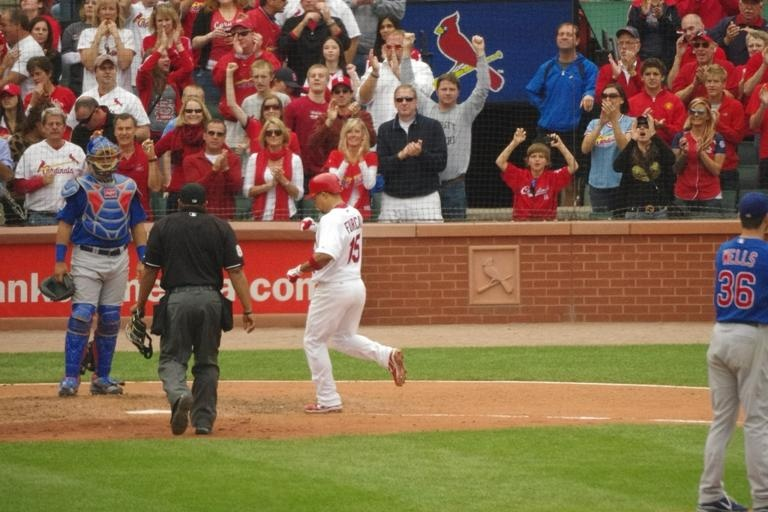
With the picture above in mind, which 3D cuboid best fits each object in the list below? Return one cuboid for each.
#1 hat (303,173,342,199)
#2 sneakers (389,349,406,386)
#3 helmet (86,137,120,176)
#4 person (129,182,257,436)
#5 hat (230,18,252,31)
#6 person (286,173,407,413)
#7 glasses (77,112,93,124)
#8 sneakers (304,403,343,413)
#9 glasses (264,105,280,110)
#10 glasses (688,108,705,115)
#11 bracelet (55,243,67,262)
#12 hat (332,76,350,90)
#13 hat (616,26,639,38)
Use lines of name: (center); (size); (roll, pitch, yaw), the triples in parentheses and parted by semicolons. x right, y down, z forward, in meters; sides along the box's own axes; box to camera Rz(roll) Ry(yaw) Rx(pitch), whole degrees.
hat: (-0.911, -0.987, 25.388); (0.473, 0.226, 0.321); (7, 27, 11)
sneakers: (0.226, 1.635, 25.863); (0.278, 0.562, 0.216); (-7, 15, 20)
helmet: (-4.272, -1.482, 26.129); (0.531, 0.474, 0.561); (-3, 15, -22)
person: (-2.646, 0.739, 24.450); (1.603, 3.458, 0.913); (-1, 2, -7)
hat: (-2.486, -4.002, 30.558); (0.380, 0.293, 0.518); (-1, 1, -5)
person: (-0.677, 0.549, 25.458); (1.480, 3.440, 0.670); (-1, 2, -14)
glasses: (-5.112, -2.318, 29.791); (0.178, 0.170, 0.054); (-3, -28, 8)
sneakers: (-0.907, 2.228, 25.581); (0.492, 0.133, 0.182); (2, -3, -2)
glasses: (-1.891, -2.483, 29.654); (0.276, 0.074, 0.104); (-1, 1, -14)
glasses: (5.378, -2.449, 30.097); (0.279, 0.112, 0.097); (0, 2, 28)
bracelet: (-4.820, -0.038, 26.078); (0.151, 0.245, 0.299); (-1, 1, -12)
hat: (-0.733, -2.933, 29.881); (0.323, 0.220, 0.499); (0, -4, 2)
hat: (4.310, -3.902, 30.891); (0.393, 0.226, 0.313); (-1, 1, 8)
